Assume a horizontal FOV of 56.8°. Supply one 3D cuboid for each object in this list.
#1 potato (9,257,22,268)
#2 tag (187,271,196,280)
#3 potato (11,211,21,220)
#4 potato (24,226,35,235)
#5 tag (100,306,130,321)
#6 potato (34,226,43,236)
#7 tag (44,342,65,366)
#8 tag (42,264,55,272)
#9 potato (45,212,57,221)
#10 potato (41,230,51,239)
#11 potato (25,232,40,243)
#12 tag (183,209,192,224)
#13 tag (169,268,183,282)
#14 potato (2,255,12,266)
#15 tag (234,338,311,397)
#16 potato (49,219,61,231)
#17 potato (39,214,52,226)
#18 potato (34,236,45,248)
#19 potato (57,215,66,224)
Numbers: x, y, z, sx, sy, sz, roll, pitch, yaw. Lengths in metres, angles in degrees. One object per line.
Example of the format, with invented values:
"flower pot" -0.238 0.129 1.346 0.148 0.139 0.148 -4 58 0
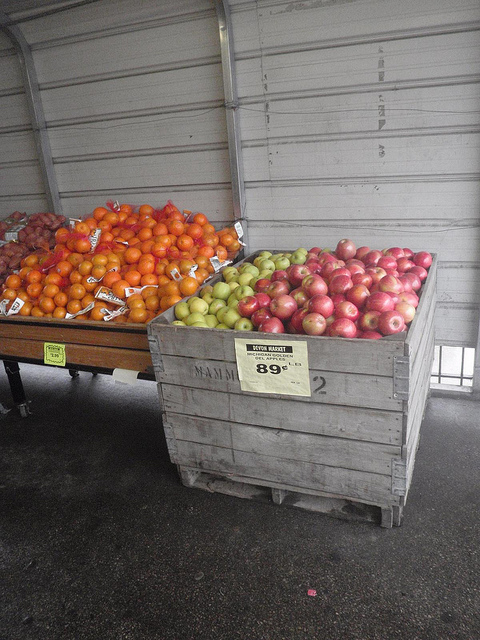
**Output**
"potato" -1.706 -0.432 3.340 0.081 0.065 0.045 -40 10 -2
"tag" -0.302 -0.276 2.796 0.045 0.011 0.049 34 23 22
"potato" -2.036 -0.941 4.022 0.071 0.072 0.086 -4 -7 37
"potato" -1.727 -0.735 3.615 0.073 0.037 0.072 6 38 -2
"tag" -0.767 -0.049 2.700 0.147 0.043 0.088 -18 43 -9
"potato" -1.646 -0.718 3.599 0.060 0.041 0.074 -9 32 -33
"tag" -1.195 0.213 2.856 0.149 0.125 0.020 9 16 27
"tag" -1.312 -0.358 3.030 0.086 0.013 0.012 -32 -16 11
"potato" -1.601 -0.874 3.731 0.091 0.032 0.070 39 19 34
"potato" -1.555 -0.681 3.546 0.059 0.039 0.069 0 21 -4
"potato" -1.668 -0.659 3.551 0.080 0.102 0.056 33 28 -33
"tag" -0.435 -0.847 3.625 0.026 0.095 0.097 8 26 16
"tag" -0.391 -0.275 2.717 0.024 0.054 0.081 2 51 -48
"potato" -1.782 -0.452 3.366 0.040 0.027 0.080 -16 57 -32
"tag" 0.147 0.204 1.959 0.338 0.281 0.013 4 25 25
"potato" -1.536 -0.781 3.672 0.057 0.076 0.111 5 25 27
"potato" -1.608 -0.818 3.663 0.111 0.041 0.058 40 75 18
"potato" -1.572 -0.606 3.466 0.076 0.093 0.044 19 4 -32
"potato" -1.526 -0.841 3.781 0.084 0.033 0.081 -7 45 -29
